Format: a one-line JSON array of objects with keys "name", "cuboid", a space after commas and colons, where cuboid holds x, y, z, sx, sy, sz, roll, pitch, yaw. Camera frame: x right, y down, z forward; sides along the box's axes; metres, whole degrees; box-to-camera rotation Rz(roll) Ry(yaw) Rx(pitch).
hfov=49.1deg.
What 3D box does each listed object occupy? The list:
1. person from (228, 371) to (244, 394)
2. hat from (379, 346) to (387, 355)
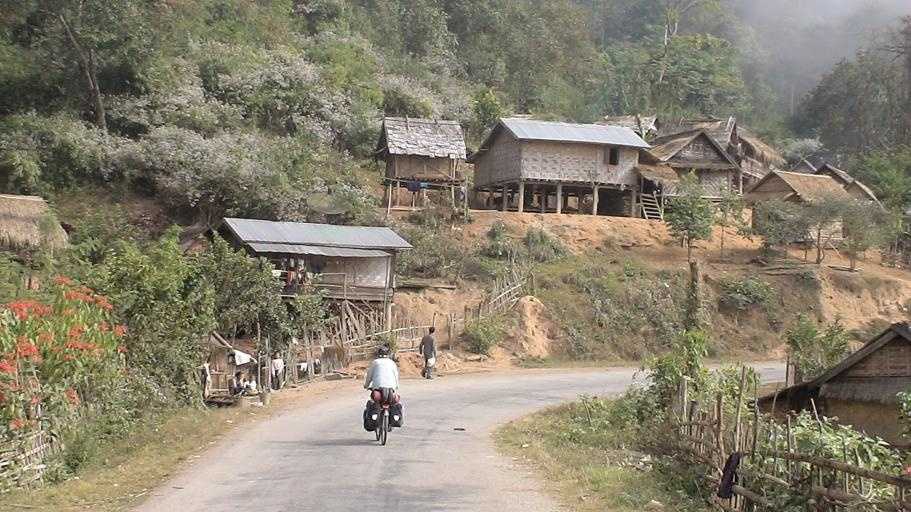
[{"name": "person", "cuboid": [-13.988, 8.252, 64.036, 0.436, 1.255, 0.867, 11, -4, -33]}, {"name": "hat", "cuboid": [-4.170, 5.472, 57.570, 0.379, 0.332, 0.471, 3, -8, -3]}]
